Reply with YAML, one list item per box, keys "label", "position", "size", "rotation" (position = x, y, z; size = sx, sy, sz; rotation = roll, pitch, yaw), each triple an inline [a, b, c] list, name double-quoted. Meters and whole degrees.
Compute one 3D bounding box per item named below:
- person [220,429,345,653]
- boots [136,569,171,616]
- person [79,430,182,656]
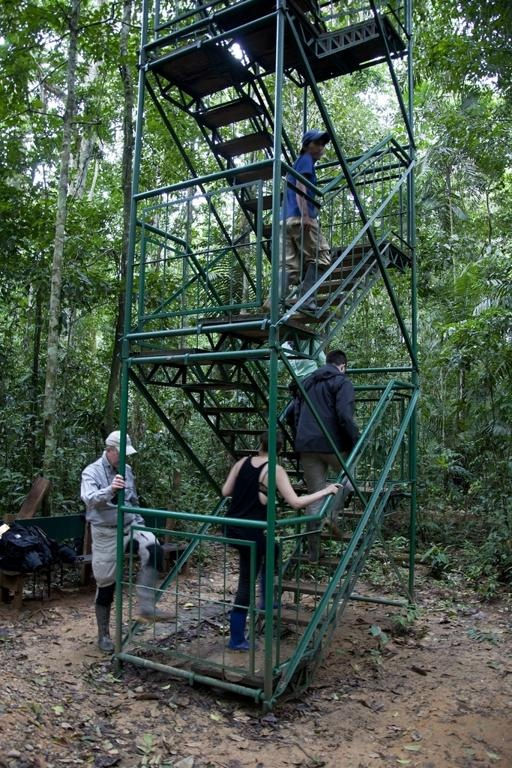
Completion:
- label: "person"
  position: [0.092, 1.151, 4.850]
  size: [0.689, 1.585, 1.104]
  rotation: [4, -3, -2]
- label: "boots"
  position: [-0.769, 1.566, 5.126]
  size: [0.240, 0.371, 0.320]
  rotation: [6, -4, -31]
- label: "person"
  position: [-1.047, 1.261, 5.402]
  size: [0.709, 1.754, 0.873]
  rotation: [4, -3, -13]
